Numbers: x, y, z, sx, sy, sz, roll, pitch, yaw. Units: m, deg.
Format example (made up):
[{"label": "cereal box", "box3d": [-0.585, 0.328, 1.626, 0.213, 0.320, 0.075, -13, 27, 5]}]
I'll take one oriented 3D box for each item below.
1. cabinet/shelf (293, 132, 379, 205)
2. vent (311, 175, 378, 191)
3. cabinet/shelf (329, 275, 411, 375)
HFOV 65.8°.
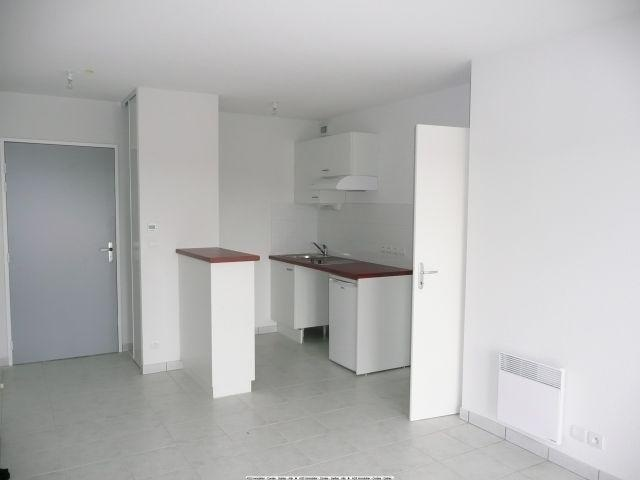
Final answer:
[{"label": "cabinet/shelf", "box3d": [0.079, -0.909, 6.559, 0.537, 0.885, 1.478, -11, 8, -25]}, {"label": "vent", "box3d": [0.236, -0.706, 6.142, 0.837, 0.188, 0.465, 5, 8, 42]}, {"label": "cabinet/shelf", "box3d": [0.624, 0.764, 5.540, 0.809, 1.029, 0.664, -21, 14, -37]}]
